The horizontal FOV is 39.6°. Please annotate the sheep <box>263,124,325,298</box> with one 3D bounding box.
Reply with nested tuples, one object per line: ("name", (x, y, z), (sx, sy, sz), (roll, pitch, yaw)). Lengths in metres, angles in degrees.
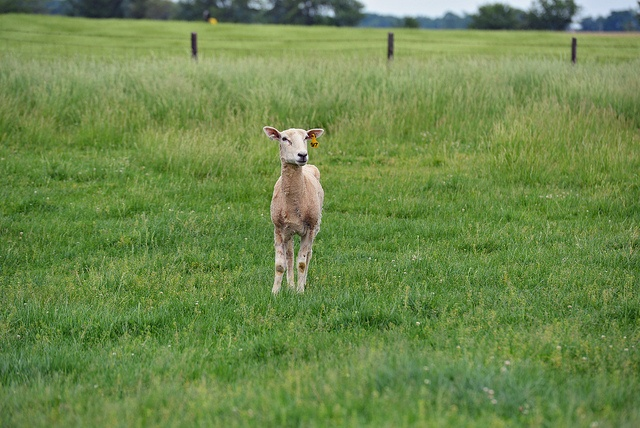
("sheep", (-0.529, -0.097, 19.069), (1.152, 3.331, 1.080), (-3, 15, -16))
